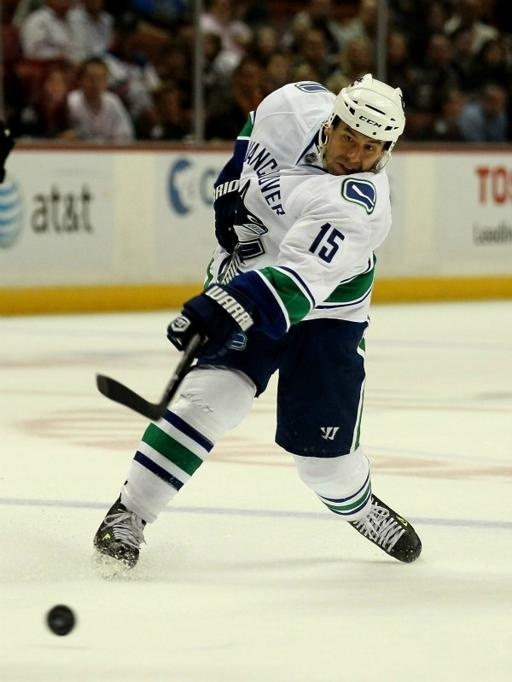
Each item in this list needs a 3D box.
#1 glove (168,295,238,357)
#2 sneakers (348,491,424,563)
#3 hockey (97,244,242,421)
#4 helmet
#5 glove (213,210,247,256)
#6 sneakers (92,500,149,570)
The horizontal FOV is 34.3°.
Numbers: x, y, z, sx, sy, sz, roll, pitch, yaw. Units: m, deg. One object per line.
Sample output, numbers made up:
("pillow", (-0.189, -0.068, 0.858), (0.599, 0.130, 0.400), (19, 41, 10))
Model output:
("glove", (-0.096, -0.020, 1.363), (0.119, 0.079, 0.048), (-35, -5, -12))
("sneakers", (0.288, 0.440, 2.015), (0.094, 0.074, 0.227), (18, 15, -46))
("hockey", (-0.167, 0.021, 1.434), (0.034, 0.114, 0.307), (-35, 24, 31))
("helmet", (0.206, -0.442, 1.647), (0.168, 0.214, 0.182), (2, 5, 6))
("glove", (-0.061, -0.257, 1.978), (0.035, 0.084, 0.070), (-16, 24, -31))
("sneakers", (-0.285, 0.405, 1.736), (0.076, 0.060, 0.162), (-29, 27, 4))
